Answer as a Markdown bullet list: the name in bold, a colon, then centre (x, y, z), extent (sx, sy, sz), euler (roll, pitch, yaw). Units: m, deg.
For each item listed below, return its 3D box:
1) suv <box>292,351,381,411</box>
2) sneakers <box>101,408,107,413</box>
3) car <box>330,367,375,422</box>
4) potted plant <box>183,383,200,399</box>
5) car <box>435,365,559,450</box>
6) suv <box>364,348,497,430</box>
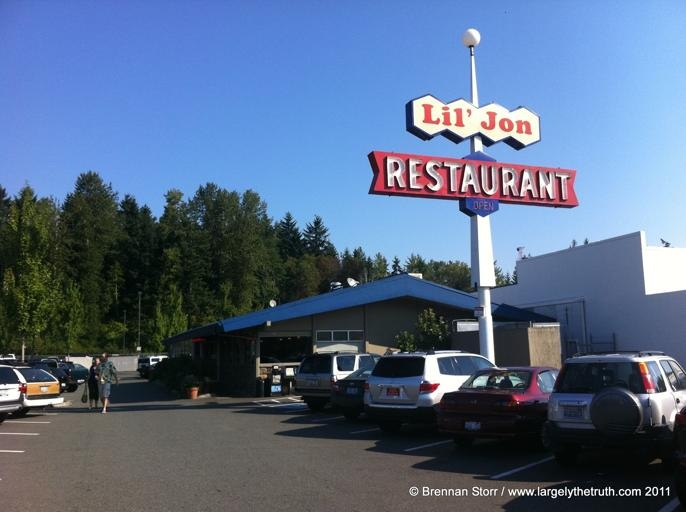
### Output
- **suv**: centre (0.079, 4.135, 23.720), extent (2.892, 1.461, 1.439), euler (1, -5, -40)
- **sneakers**: centre (-8.656, 5.602, 25.068), extent (0.136, 0.201, 0.441), euler (1, -16, -7)
- **car**: centre (0.195, 4.064, 20.340), extent (1.665, 0.781, 0.915), euler (3, -6, -44)
- **potted plant**: centre (-6.703, 6.012, 30.741), extent (0.544, 0.483, 0.585), euler (-6, -15, 21)
- **car**: centre (3.469, 3.313, 15.470), extent (1.391, 1.126, 3.066), euler (-7, -8, 43)
- **suv**: centre (2.189, 3.422, 18.067), extent (1.547, 1.407, 3.222), euler (-8, -7, 44)
